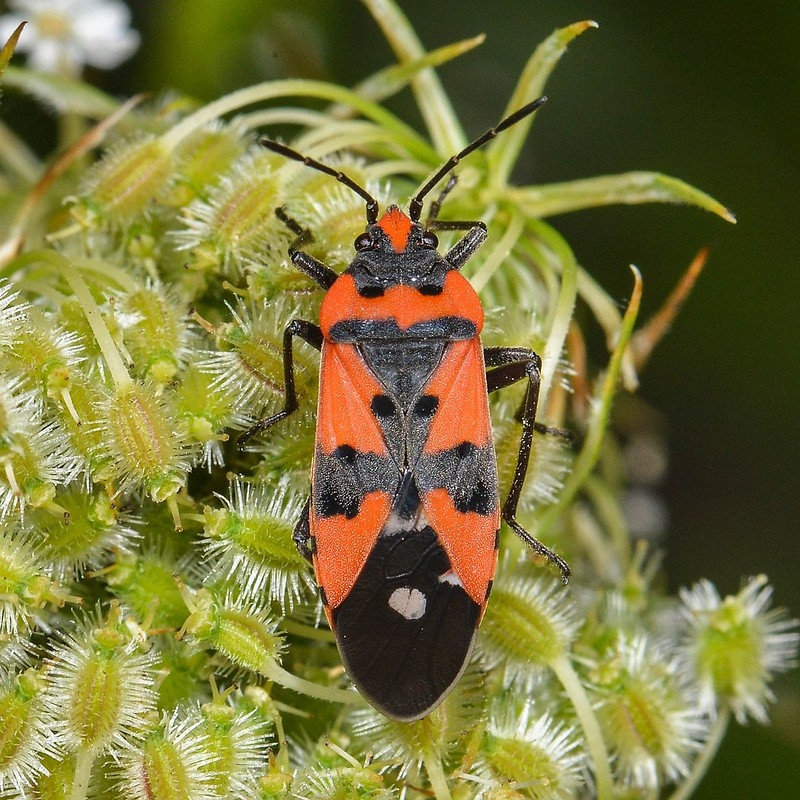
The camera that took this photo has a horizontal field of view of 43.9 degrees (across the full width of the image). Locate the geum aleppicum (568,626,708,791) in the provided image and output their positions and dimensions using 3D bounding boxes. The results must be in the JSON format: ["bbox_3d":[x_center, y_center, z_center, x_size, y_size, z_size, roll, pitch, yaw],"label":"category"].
[{"bbox_3d":[0.621,0.820,2.608,0.210,0.340,0.321,46,126,37],"label":"geum aleppicum"}]
